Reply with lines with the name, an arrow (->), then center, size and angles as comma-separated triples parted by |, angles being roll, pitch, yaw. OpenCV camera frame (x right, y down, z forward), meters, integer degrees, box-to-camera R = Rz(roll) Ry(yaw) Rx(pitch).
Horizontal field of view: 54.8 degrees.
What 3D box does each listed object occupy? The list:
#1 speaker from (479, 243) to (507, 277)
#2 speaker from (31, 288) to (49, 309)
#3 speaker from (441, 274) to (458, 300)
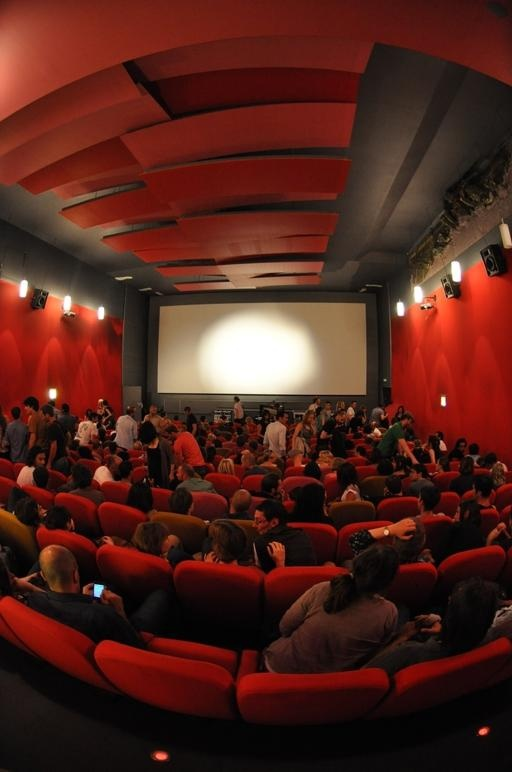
speaker -> 2.834, -1.467, 5.767 | 0.215, 0.373, 0.368 | 0, 11, 11
speaker -> -4.001, -1.582, 9.025 | 0.238, 0.390, 0.508 | -2, 11, -2
speaker -> 2.960, -1.475, 7.342 | 0.187, 0.351, 0.439 | 0, 11, 9
